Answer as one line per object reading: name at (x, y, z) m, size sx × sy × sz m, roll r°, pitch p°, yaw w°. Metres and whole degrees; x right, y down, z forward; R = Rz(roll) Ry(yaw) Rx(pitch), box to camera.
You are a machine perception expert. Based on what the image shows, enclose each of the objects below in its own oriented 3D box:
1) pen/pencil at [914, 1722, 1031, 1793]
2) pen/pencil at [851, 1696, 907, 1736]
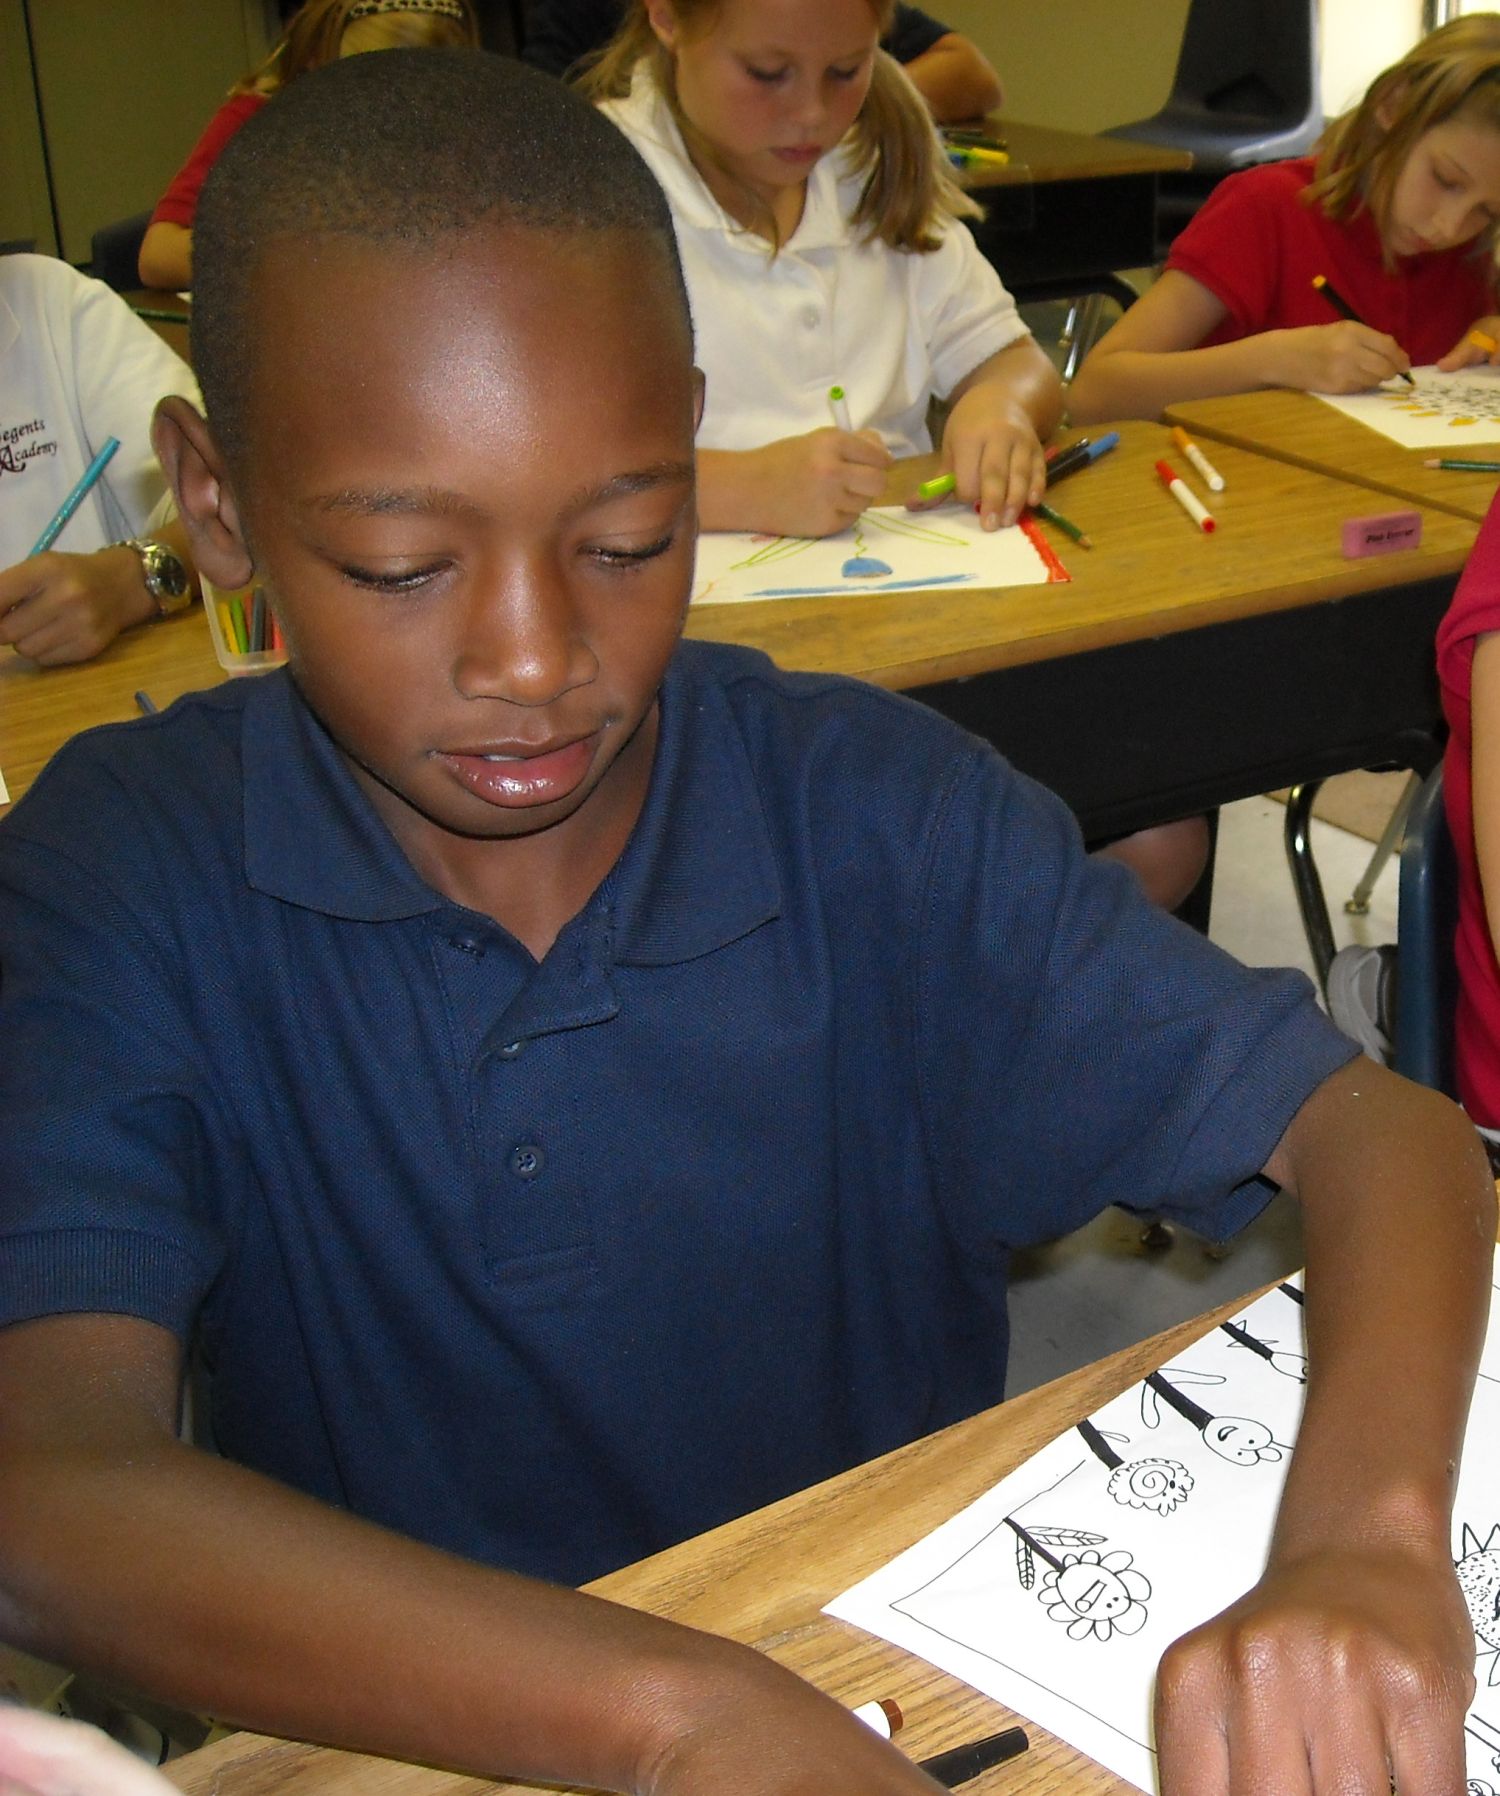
pen/pencil at (0.068, 0.256, 0.478) m, size 0.039 × 0.010 × 0.010 m, roll -10°, pitch 16°, yaw -14°
pen/pencil at (0.040, 0.252, 0.487) m, size 0.012 × 0.008 × 0.011 m, roll -8°, pitch 28°, yaw 0°
